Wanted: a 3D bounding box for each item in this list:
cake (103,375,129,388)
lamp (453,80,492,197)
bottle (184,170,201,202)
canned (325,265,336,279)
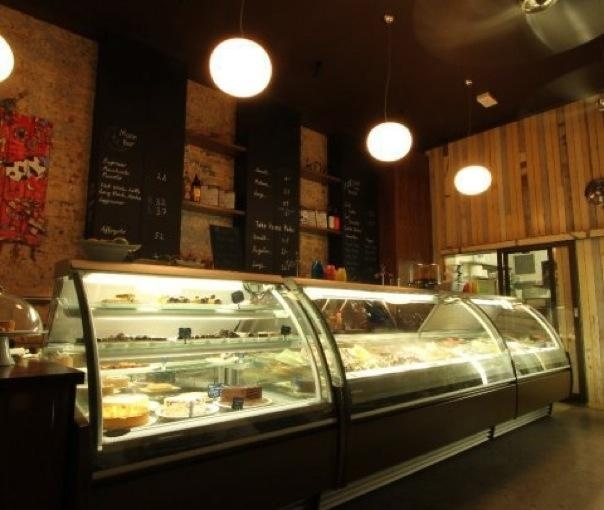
[{"bbox_3d":[-0.935,0.635,2.385,0.133,0.061,0.070,0,3,-35],"label":"cake"},{"bbox_3d":[2.093,-1.260,5.691,0.492,1.019,1.791,2,2,17],"label":"lamp"},{"bbox_3d":[-1.088,-0.684,4.721,0.177,0.328,0.336,2,2,-13],"label":"bottle"},{"bbox_3d":[0.257,0.159,4.469,0.107,0.126,0.110,1,2,33],"label":"canned"}]
